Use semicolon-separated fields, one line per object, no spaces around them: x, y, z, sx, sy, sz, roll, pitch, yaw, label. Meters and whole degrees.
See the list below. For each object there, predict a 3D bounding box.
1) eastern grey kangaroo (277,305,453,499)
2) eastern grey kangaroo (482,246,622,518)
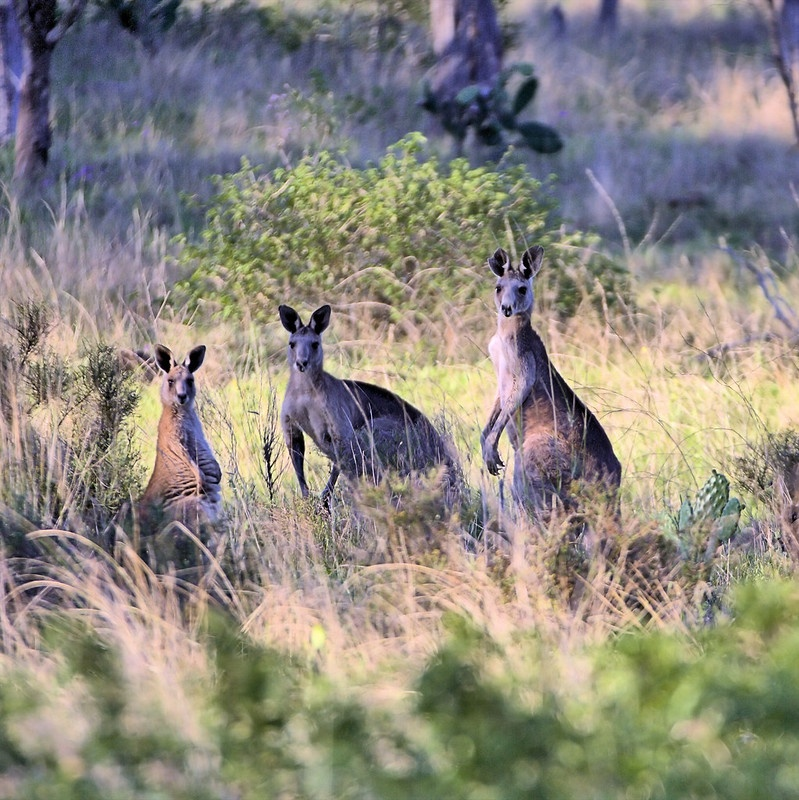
-0.365;-0.004;6.042;0.344;0.984;1.063;6;4;13;eastern grey kangaroo
0.645;-0.094;5.335;0.615;1.079;0.395;9;19;28;eastern grey kangaroo
